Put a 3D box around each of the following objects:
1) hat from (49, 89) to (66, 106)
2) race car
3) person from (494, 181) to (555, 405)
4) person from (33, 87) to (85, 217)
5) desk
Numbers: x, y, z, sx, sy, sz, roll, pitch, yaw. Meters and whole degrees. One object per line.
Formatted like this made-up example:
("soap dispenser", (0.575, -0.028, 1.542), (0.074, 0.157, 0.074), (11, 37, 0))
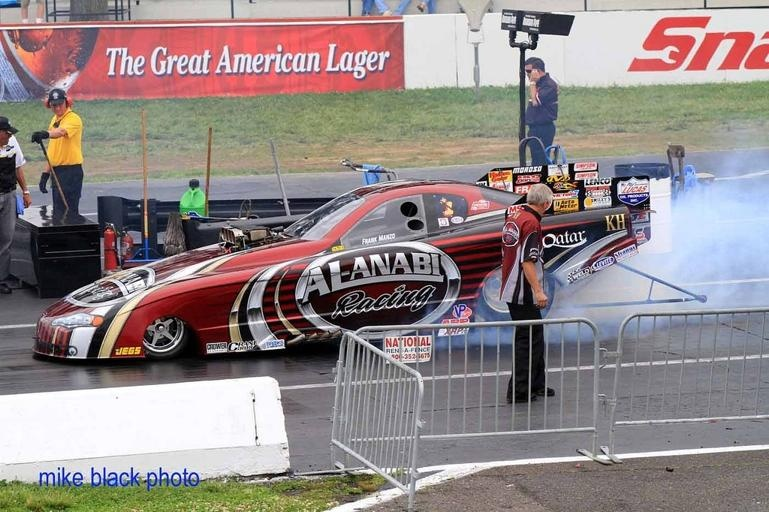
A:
("hat", (-5.913, -2.798, 28.257), (0.348, 0.271, 0.235), (-3, 14, -11))
("race car", (-0.830, 0.098, 24.616), (9.357, 1.783, 2.533), (-8, 15, -14))
("person", (2.247, 0.537, 21.978), (0.890, 2.814, 1.266), (-1, 6, 0))
("person", (-5.934, -1.751, 28.177), (1.062, 2.383, 0.851), (2, -7, -9))
("desk", (-5.539, -0.310, 26.840), (1.424, 1.327, 2.478), (-2, 7, -26))
